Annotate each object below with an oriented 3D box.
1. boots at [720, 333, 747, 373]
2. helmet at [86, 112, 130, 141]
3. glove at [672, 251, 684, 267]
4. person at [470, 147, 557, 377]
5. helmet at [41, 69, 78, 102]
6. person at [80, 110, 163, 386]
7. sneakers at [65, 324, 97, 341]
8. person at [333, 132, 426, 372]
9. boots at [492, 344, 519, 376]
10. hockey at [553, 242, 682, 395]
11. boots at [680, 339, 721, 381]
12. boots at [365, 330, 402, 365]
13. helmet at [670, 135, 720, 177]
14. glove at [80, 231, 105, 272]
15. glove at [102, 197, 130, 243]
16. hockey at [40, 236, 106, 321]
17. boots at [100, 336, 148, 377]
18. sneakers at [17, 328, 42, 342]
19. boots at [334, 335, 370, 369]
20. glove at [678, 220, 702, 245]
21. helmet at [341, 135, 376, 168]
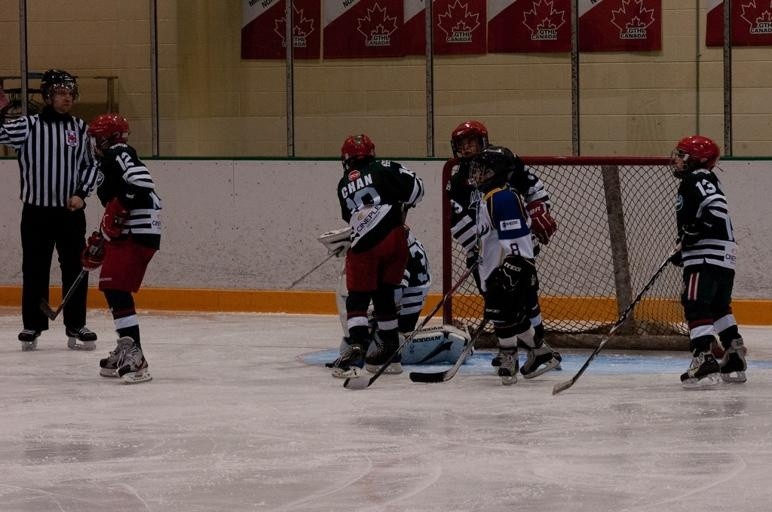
[{"bbox_3d":[2.353,0.671,8.041,0.146,0.242,0.099,1,7,21],"label":"boots"},{"bbox_3d":[-1.932,-0.916,8.302,0.259,0.194,0.185,5,-3,1],"label":"helmet"},{"bbox_3d":[2.033,0.025,8.221,0.027,0.090,0.096,5,12,-32],"label":"glove"},{"bbox_3d":[0.847,0.064,7.988,0.493,1.600,0.396,-2,7,-3],"label":"person"},{"bbox_3d":[-2.547,-1.343,9.393,0.289,0.243,0.222,-16,15,-8],"label":"helmet"},{"bbox_3d":[-1.784,-0.070,8.232,0.456,1.818,0.613,-3,7,-11],"label":"person"},{"bbox_3d":[-2.362,0.593,9.249,0.269,0.108,0.099,-3,4,29],"label":"sneakers"},{"bbox_3d":[-0.109,-0.010,8.206,0.537,1.623,0.750,1,7,21],"label":"person"},{"bbox_3d":[0.816,0.709,8.016,0.207,0.186,0.147,3,-7,-1],"label":"boots"},{"bbox_3d":[1.854,0.508,9.318,0.136,1.189,0.092,16,-23,45],"label":"hockey"},{"bbox_3d":[2.061,0.744,7.948,0.250,0.172,0.084,-19,-2,44],"label":"boots"},{"bbox_3d":[-0.009,0.640,8.352,0.251,0.265,0.509,-1,6,0],"label":"boots"},{"bbox_3d":[2.161,-0.705,8.301,0.315,0.270,0.262,3,6,9],"label":"helmet"},{"bbox_3d":[-2.085,-0.036,8.561,0.121,0.267,0.193,24,5,-36],"label":"glove"},{"bbox_3d":[-1.830,-0.247,8.083,0.164,0.263,0.104,31,-3,15],"label":"glove"},{"bbox_3d":[-2.207,0.141,8.457,0.216,0.692,0.190,-8,-42,44],"label":"hockey"},{"bbox_3d":[-1.817,0.707,8.276,0.270,0.175,0.140,5,9,16],"label":"boots"},{"bbox_3d":[-2.730,0.605,9.122,0.188,0.106,0.114,-6,8,-37],"label":"sneakers"},{"bbox_3d":[-0.218,0.648,8.133,0.174,0.203,0.328,1,7,18],"label":"boots"},{"bbox_3d":[2.046,-0.150,8.015,0.151,0.127,0.110,3,-2,3],"label":"glove"},{"bbox_3d":[-0.200,-0.751,8.497,0.224,0.255,0.261,-4,10,-4],"label":"helmet"}]
